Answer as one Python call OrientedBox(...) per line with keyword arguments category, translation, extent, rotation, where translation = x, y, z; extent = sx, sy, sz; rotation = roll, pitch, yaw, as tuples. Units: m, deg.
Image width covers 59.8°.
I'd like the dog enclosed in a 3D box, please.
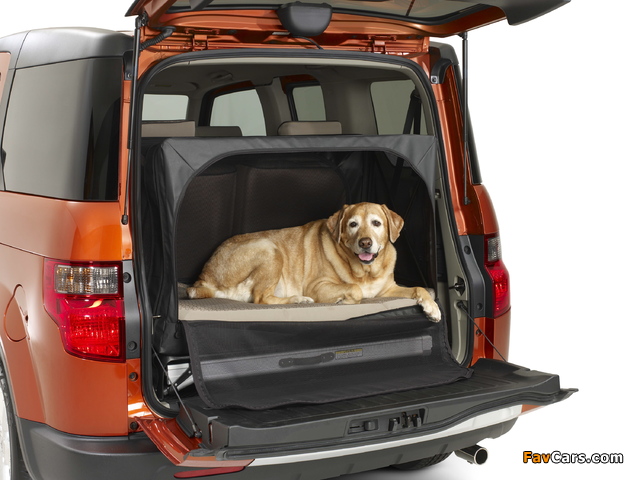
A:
OrientedBox(category="dog", translation=(-0.082, 0.155, 4.335), extent=(1.735, 0.636, 0.900), rotation=(2, -4, 30))
